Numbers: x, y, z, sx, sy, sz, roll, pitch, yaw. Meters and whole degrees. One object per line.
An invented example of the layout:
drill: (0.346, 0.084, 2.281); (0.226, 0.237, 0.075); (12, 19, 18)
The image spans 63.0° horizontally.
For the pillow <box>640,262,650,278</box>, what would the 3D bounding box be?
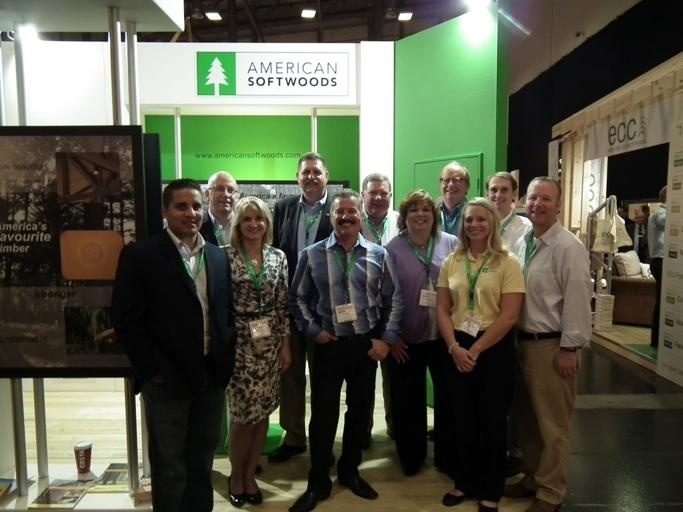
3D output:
pillow: (4.764, 0.243, 8.774); (0.101, 0.279, 0.267); (2, -4, 21)

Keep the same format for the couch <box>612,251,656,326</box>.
couch: (4.555, 0.471, 8.666); (0.579, 1.107, 1.108); (0, 1, 7)

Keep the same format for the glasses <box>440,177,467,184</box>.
glasses: (0.958, -0.653, 4.843); (0.216, 0.050, 0.104); (0, 4, 17)

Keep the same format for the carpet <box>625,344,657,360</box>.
carpet: (3.820, 1.218, 7.012); (0.331, 0.030, 0.701); (-1, 4, 8)

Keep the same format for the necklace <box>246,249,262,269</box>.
necklace: (-0.653, 0.021, 4.200); (0.037, 0.139, 0.097); (-27, -2, 42)

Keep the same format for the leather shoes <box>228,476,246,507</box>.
leather shoes: (-0.805, 1.805, 4.240); (0.086, 0.098, 0.245); (12, -3, -20)

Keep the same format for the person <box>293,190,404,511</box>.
person: (0.018, 0.684, 4.203); (0.844, 2.347, 0.407); (-1, 3, 2)

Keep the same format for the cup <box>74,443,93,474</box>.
cup: (-2.036, 1.585, 4.393); (0.110, 0.242, 0.141); (-3, 4, -24)

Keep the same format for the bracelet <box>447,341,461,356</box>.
bracelet: (0.814, 0.674, 4.109); (0.075, 0.092, 0.038); (26, 8, -46)

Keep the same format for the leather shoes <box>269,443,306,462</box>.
leather shoes: (-0.465, 1.672, 4.766); (0.298, 0.123, 0.112); (4, -10, -29)

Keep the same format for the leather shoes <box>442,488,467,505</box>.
leather shoes: (0.829, 1.809, 4.196); (0.167, 0.044, 0.087); (-2, 3, -30)
